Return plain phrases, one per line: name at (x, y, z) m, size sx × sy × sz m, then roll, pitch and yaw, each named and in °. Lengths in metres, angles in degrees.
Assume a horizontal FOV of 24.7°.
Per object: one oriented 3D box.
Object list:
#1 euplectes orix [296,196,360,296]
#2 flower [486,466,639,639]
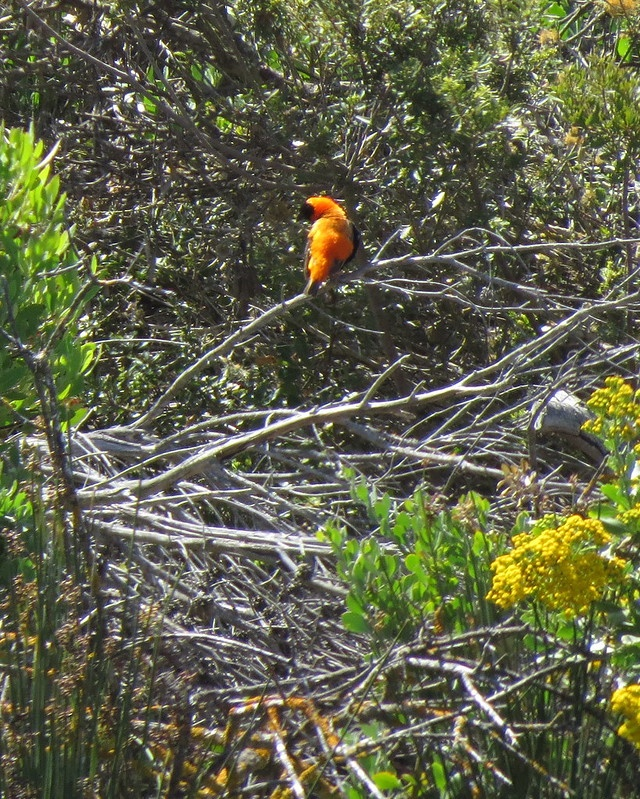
euplectes orix at (0.030, -0.633, 5.995) m, size 0.243 × 0.401 × 0.463 m, roll 1°, pitch 5°, yaw 9°
flower at (0.522, 0.334, 3.138) m, size 0.288 × 0.139 × 0.273 m, roll -16°, pitch 24°, yaw 26°
